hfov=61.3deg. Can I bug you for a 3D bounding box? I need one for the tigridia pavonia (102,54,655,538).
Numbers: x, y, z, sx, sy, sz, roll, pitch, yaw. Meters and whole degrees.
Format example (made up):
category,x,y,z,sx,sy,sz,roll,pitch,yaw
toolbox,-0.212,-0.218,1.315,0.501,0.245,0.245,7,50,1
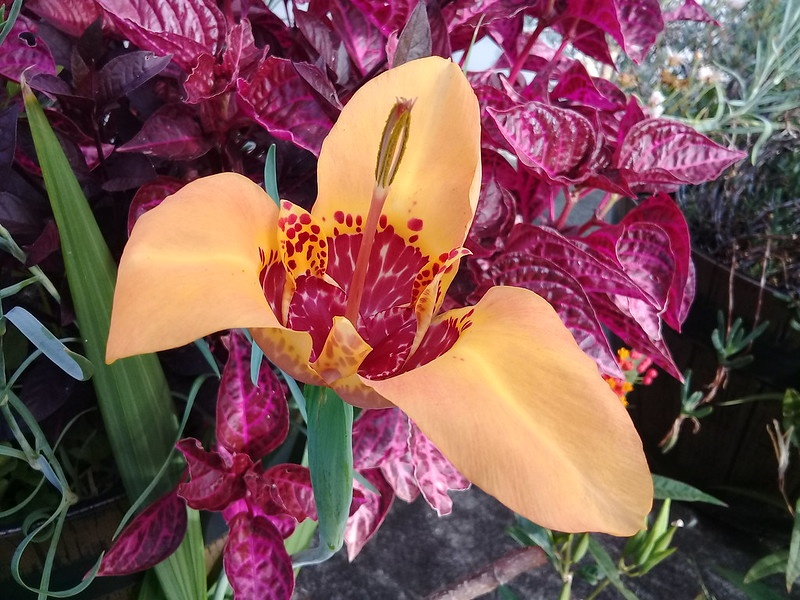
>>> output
category,x,y,z,sx,sy,sz,roll,pitch,yaw
tigridia pavonia,0.006,-0.020,0.507,0.369,0.214,0.274,15,39,3
